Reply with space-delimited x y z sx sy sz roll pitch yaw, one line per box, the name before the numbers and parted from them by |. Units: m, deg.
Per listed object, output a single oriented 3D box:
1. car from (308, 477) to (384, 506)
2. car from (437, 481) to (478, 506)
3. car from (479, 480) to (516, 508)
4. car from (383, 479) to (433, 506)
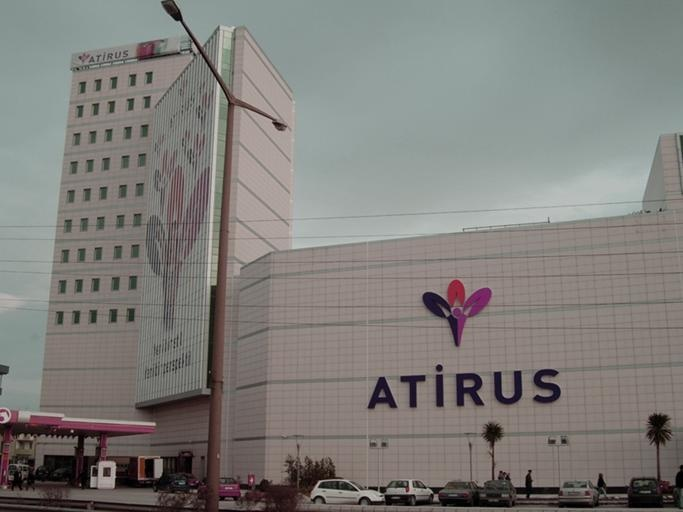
car | 0.216 16.588 56.185 3.996 1.412 1.998 -3 -7 12
car | 8.331 16.321 55.280 3.105 1.695 1.716 16 -25 -40
car | 10.626 16.181 54.788 2.408 1.768 1.582 -1 -19 -1
car | 4.618 16.552 56.355 3.694 1.808 1.380 11 -23 -32
